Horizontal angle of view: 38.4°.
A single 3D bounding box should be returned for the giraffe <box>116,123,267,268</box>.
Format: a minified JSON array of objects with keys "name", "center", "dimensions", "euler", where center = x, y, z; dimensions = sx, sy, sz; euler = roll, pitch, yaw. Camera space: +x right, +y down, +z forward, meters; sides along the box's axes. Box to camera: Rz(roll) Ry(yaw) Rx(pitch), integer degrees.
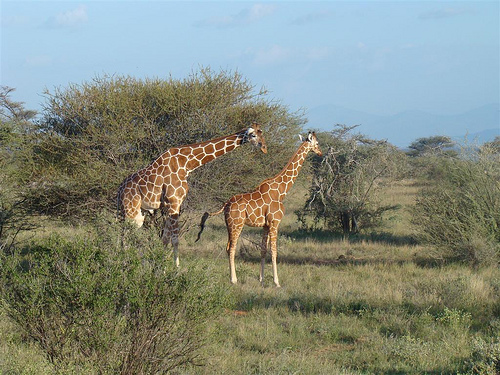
[{"name":"giraffe","center":[-1.877,0.118,18.973],"dimensions":[3.247,3.356,3.043],"euler":[-4,10,-25]}]
